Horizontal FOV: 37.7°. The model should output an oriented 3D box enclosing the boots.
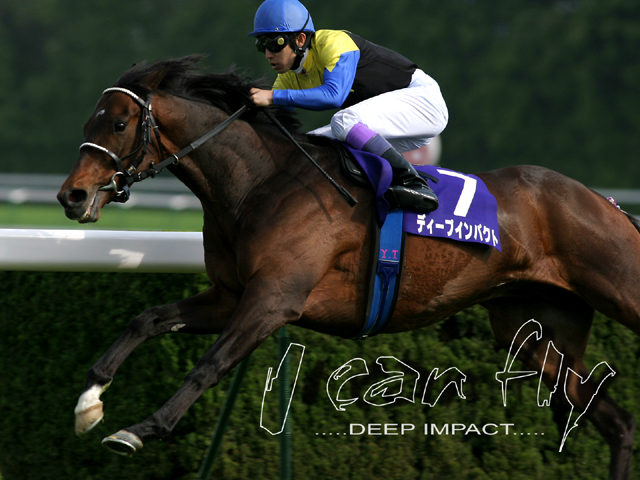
[{"bbox_3d":[0.303,-0.264,3.752,0.426,0.132,0.312,21,31,-19],"label":"boots"}]
